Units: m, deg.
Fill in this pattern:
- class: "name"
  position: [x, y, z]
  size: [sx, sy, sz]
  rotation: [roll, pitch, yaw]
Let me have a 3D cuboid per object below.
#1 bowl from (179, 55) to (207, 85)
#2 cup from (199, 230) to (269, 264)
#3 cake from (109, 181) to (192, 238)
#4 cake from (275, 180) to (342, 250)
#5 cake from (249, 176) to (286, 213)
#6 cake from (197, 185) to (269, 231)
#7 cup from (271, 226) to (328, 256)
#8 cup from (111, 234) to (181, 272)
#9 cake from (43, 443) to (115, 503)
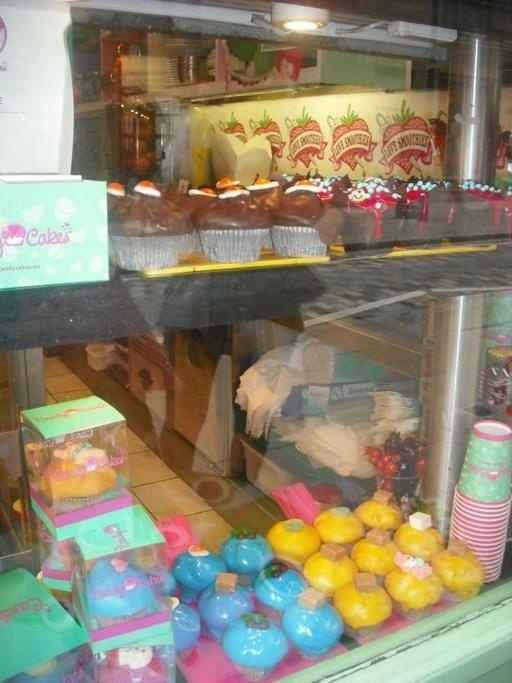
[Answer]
- class: "bowl"
  position: [-0.068, -0.293, 0.594]
  size: [0.035, 0.031, 0.030]
  rotation: [1, 22, 2]
- class: "cup"
  position: [-0.023, -0.105, 0.600]
  size: [0.049, 0.028, 0.054]
  rotation: [1, 17, 0]
- class: "cake"
  position: [-0.102, -0.127, 0.542]
  size: [0.070, 0.029, 0.065]
  rotation: [6, 24, 13]
- class: "cake"
  position: [0.062, -0.136, 0.673]
  size: [0.067, 0.067, 0.077]
  rotation: [1, 6, -42]
- class: "cake"
  position: [0.014, -0.174, 0.644]
  size: [0.048, 0.043, 0.046]
  rotation: [-7, -1, 5]
- class: "cake"
  position: [-0.025, -0.153, 0.623]
  size: [0.088, 0.045, 0.086]
  rotation: [16, 28, 33]
- class: "cup"
  position: [0.050, -0.118, 0.648]
  size: [0.049, 0.021, 0.038]
  rotation: [-3, 16, -14]
- class: "cup"
  position: [-0.107, -0.089, 0.549]
  size: [0.023, 0.039, 0.077]
  rotation: [10, 19, 35]
- class: "cake"
  position: [-0.202, 0.146, 0.653]
  size: [0.104, 0.053, 0.096]
  rotation: [-1, 1, -2]
